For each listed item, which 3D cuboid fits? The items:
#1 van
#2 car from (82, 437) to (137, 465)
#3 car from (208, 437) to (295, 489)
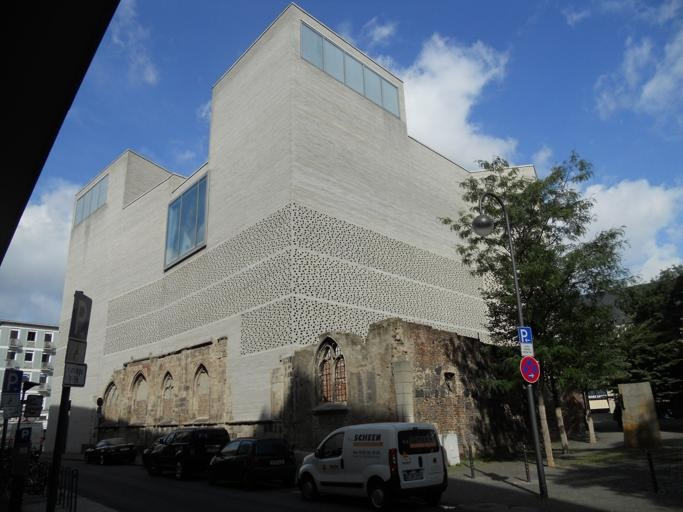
[{"bbox_3d":[0.582,6.169,12.542,4.635,2.170,1.932,-18,-27,29],"label":"van"},{"bbox_3d":[-15.378,13.089,28.503,3.417,1.651,1.495,-16,-26,27],"label":"car"},{"bbox_3d":[-3.766,8.020,16.536,3.977,1.709,1.857,-15,-26,25],"label":"car"}]
